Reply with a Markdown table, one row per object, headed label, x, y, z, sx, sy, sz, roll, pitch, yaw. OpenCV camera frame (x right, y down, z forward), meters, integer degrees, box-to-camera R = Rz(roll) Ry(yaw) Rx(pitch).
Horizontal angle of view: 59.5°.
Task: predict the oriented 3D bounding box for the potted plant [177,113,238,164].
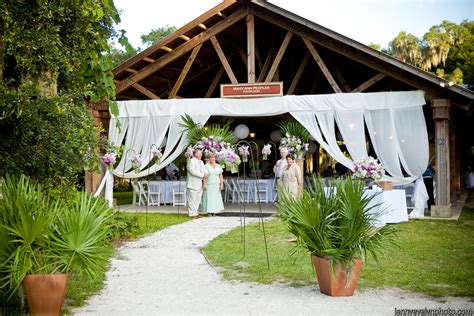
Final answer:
| label | x | y | z | sx | sy | sz | roll | pitch | yaw |
| --- | --- | --- | --- | --- | --- | --- | --- | --- | --- |
| potted plant | -0.874 | -0.599 | 12.379 | 1.422 | 1.067 | 1.457 | 2 | -8 | 6 |

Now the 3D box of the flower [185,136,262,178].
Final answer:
| label | x | y | z | sx | sy | sz | roll | pitch | yaw |
| --- | --- | --- | --- | --- | --- | --- | --- | --- | --- |
| flower | -0.472 | -0.140 | 11.758 | 1.665 | 1.107 | 1.561 | 2 | 0 | 16 |

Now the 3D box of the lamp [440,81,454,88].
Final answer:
| label | x | y | z | sx | sy | sz | roll | pitch | yaw |
| --- | --- | --- | --- | --- | --- | --- | --- | --- | --- |
| lamp | 5.498 | -1.931 | 10.860 | 0.332 | 0.157 | 0.304 | 2 | 4 | 30 |

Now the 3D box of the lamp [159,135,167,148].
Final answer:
| label | x | y | z | sx | sy | sz | roll | pitch | yaw |
| --- | --- | --- | --- | --- | --- | --- | --- | --- | --- |
| lamp | -2.504 | -0.551 | 14.322 | 0.378 | 0.343 | 0.458 | -1 | -4 | -2 |

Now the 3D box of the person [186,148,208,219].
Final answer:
| label | x | y | z | sx | sy | sz | roll | pitch | yaw |
| --- | --- | --- | --- | --- | --- | --- | --- | --- | --- |
| person | -1.103 | 0.708 | 11.505 | 0.552 | 1.898 | 0.405 | 0 | 3 | -6 |

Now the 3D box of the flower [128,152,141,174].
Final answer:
| label | x | y | z | sx | sy | sz | roll | pitch | yaw |
| --- | --- | --- | --- | --- | --- | --- | --- | --- | --- |
| flower | -2.823 | 0.143 | 11.622 | 0.262 | 0.546 | 1.007 | -1 | 3 | -15 |

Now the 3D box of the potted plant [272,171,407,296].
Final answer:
| label | x | y | z | sx | sy | sz | roll | pitch | yaw |
| --- | --- | --- | --- | --- | --- | --- | --- | --- | --- |
| potted plant | 1.561 | 1.077 | 6.423 | 1.682 | 1.844 | 1.503 | -2 | -3 | 34 |

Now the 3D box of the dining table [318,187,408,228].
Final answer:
| label | x | y | z | sx | sy | sz | roll | pitch | yaw |
| --- | --- | --- | --- | --- | --- | --- | --- | --- | --- |
| dining table | 3.120 | 1.201 | 9.823 | 1.529 | 0.856 | 1.575 | -2 | -1 | 31 |

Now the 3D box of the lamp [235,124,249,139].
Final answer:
| label | x | y | z | sx | sy | sz | roll | pitch | yaw |
| --- | --- | --- | --- | --- | --- | --- | --- | --- | --- |
| lamp | 0.197 | -1.011 | 15.284 | 0.500 | 0.586 | 0.500 | 3 | -6 | -41 |

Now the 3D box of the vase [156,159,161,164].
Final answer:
| label | x | y | z | sx | sy | sz | roll | pitch | yaw |
| --- | --- | --- | --- | --- | --- | --- | --- | --- | --- |
| vase | -2.324 | 0.096 | 12.321 | 0.148 | 0.061 | 0.169 | 15 | 24 | -31 |

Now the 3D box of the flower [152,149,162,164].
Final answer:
| label | x | y | z | sx | sy | sz | roll | pitch | yaw |
| --- | --- | --- | --- | --- | --- | --- | --- | --- | --- |
| flower | -2.335 | -0.032 | 12.304 | 0.272 | 0.459 | 0.985 | -1 | 3 | -11 |

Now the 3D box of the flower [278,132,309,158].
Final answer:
| label | x | y | z | sx | sy | sz | roll | pitch | yaw |
| --- | --- | --- | --- | --- | --- | --- | --- | --- | --- |
| flower | 1.692 | -0.366 | 12.371 | 0.712 | 0.749 | 0.743 | 3 | -8 | -9 |

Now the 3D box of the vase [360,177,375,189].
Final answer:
| label | x | y | z | sx | sy | sz | roll | pitch | yaw |
| --- | --- | --- | --- | --- | --- | --- | --- | --- | --- |
| vase | 3.005 | 0.560 | 9.535 | 0.356 | 0.290 | 0.361 | 0 | -8 | 4 |
